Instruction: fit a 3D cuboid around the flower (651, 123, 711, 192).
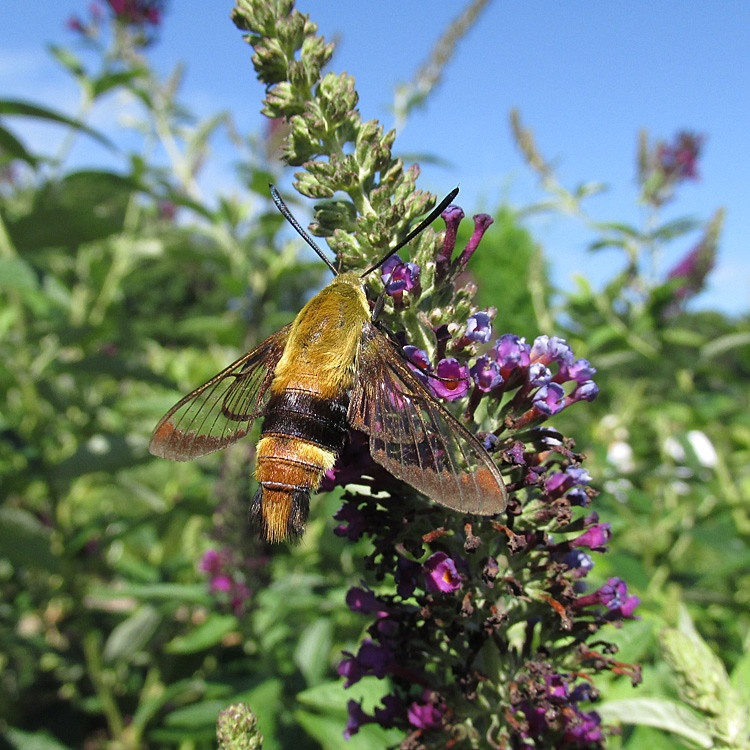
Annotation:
[{"bbox_3d":[1.199,-0.859,3.828,0.195,0.225,0.066,15,-2,7],"label":"flower"}]
